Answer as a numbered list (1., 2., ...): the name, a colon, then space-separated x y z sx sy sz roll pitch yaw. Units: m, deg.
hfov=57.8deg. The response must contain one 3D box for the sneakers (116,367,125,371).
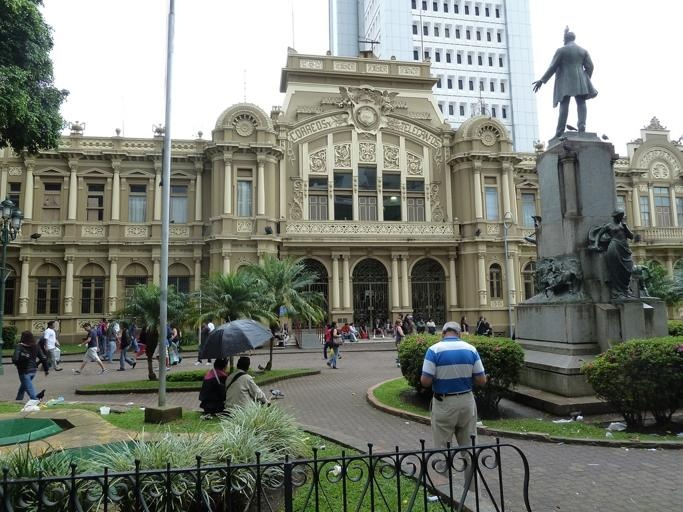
1. sneakers: -8.842 4.504 24.702 0.286 0.125 0.099 0 -1 21

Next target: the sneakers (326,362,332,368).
1. sneakers: -0.526 4.431 25.252 0.135 0.271 0.279 1 -2 16

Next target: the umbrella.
1. umbrella: -2.802 2.058 15.777 1.960 0.855 1.976 -11 7 7

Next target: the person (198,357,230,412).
1. person: -2.890 3.064 14.764 0.868 1.264 0.877 3 -10 13

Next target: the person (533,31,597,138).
1. person: 6.644 -5.044 17.994 1.388 3.287 0.853 -2 -5 -8

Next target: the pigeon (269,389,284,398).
1. pigeon: -1.821 3.891 17.658 0.205 0.273 0.407 -36 -24 35

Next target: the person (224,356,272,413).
1. person: -2.174 2.855 13.950 0.794 1.152 1.044 -2 -10 20

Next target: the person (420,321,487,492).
1. person: 1.942 2.242 10.799 1.067 2.141 0.548 -3 -5 7

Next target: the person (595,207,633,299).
1. person: 7.262 0.121 16.458 0.930 1.975 0.358 -4 -6 17
